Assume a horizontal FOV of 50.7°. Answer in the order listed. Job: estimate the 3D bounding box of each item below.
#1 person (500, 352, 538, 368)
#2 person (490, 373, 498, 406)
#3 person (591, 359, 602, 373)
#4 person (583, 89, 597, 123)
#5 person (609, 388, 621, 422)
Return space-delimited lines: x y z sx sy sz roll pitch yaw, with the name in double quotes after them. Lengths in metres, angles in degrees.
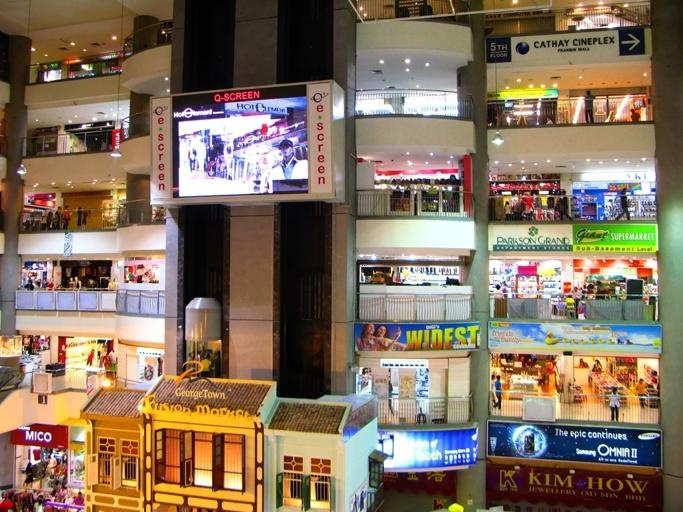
8.572 5.141 34.947 1.786 0.591 0.385 -3 14 14 "person"
6.872 6.089 32.081 0.413 0.970 1.382 -3 15 12 "person"
12.217 5.367 34.627 0.468 0.998 0.299 3 4 19 "person"
10.918 -6.441 31.791 0.350 1.112 0.547 -1 14 20 "person"
11.628 6.495 30.758 0.404 1.057 0.699 -1 15 21 "person"
